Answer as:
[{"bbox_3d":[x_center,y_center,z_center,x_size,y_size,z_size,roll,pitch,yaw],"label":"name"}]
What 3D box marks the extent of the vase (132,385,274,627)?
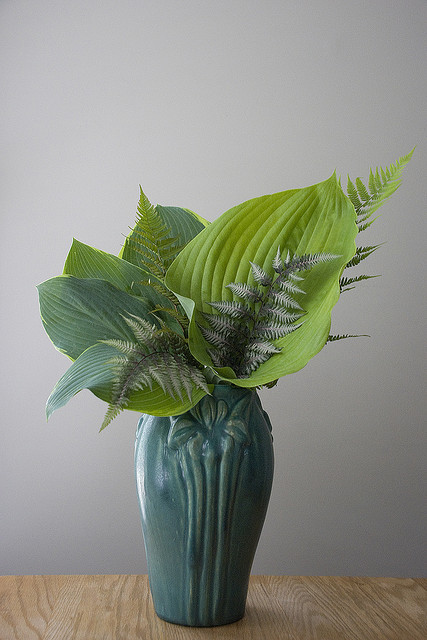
[{"bbox_3d":[-0.009,0.188,0.707,0.143,0.246,0.079,1,1,-6],"label":"vase"}]
